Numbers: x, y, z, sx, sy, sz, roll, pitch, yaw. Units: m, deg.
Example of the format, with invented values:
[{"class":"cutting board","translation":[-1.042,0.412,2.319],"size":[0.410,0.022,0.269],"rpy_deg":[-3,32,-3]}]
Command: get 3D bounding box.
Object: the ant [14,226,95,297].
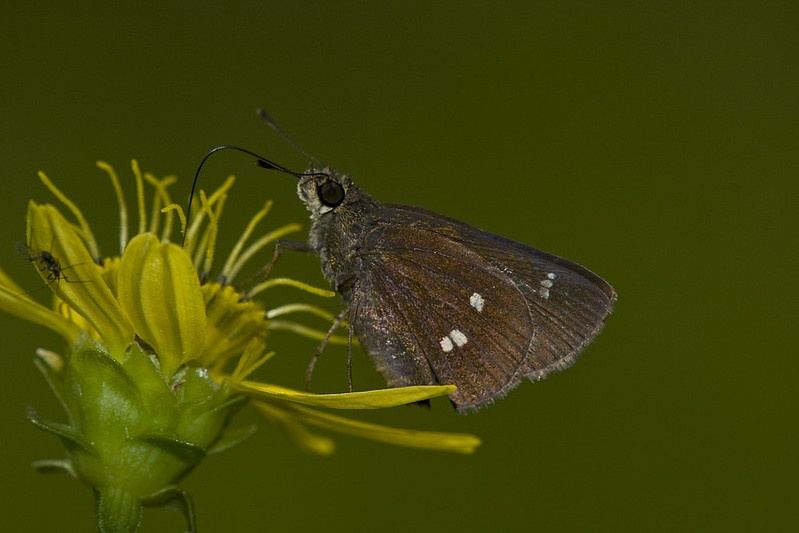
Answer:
[{"class":"ant","translation":[-0.969,-0.008,2.309],"size":[0.050,0.149,0.156],"rpy_deg":[-24,-61,39]}]
